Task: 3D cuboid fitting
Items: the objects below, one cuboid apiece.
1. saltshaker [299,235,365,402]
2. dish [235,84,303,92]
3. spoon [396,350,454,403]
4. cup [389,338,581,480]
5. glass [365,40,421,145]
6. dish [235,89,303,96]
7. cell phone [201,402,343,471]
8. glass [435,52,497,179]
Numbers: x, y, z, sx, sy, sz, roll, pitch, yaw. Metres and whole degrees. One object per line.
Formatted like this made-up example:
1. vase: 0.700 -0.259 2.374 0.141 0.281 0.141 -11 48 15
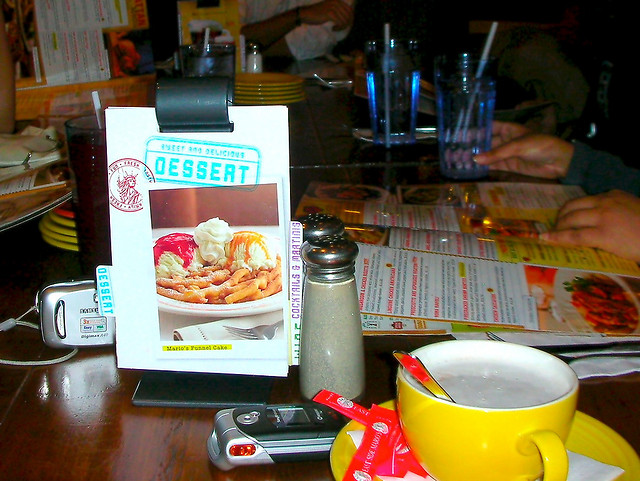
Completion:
1. saltshaker: -0.005 0.076 0.469 0.069 0.148 0.068 -3 18 -10
2. dish: -0.169 -0.468 1.457 0.129 0.011 0.115 2 13 5
3. spoon: 0.077 0.103 0.364 0.015 0.007 0.061 -19 34 -24
4. cup: 0.123 0.120 0.371 0.111 0.054 0.131 -2 11 -8
5. glass: 0.166 -0.409 1.304 0.204 0.255 0.195 9 27 28
6. dish: -0.169 -0.455 1.455 0.118 0.013 0.106 1 12 9
7. cell phone: -0.047 0.167 0.417 0.120 0.026 0.057 1 24 -18
8. glass: 0.350 -0.280 1.108 0.158 0.253 0.159 -13 18 -32
